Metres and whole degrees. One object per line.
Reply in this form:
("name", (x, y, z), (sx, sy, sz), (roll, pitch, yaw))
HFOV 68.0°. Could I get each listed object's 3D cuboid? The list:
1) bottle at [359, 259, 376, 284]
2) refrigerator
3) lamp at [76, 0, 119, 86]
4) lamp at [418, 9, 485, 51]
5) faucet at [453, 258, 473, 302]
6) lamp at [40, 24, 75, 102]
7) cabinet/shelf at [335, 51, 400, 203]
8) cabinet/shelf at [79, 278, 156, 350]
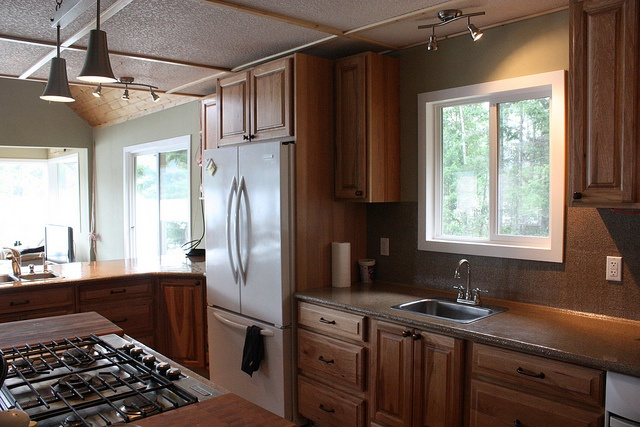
("bottle", (0.403, 0.491, 4.098), (0.124, 0.198, 0.106), (-4, 3, -7))
("refrigerator", (-0.600, 0.540, 4.011), (0.938, 2.219, 0.342), (-1, 4, 42))
("lamp", (-1.246, -0.949, 2.612), (0.182, 0.366, 0.381), (-5, 3, -24))
("lamp", (0.937, -1.274, 3.411), (0.443, 0.238, 0.502), (-3, 2, 19))
("faucet", (1.064, 0.485, 3.509), (0.120, 0.312, 0.353), (-3, 3, 15))
("lamp", (-1.630, -0.923, 2.899), (0.165, 0.410, 0.495), (-6, 3, -28))
("cabinet/shelf", (0.375, -0.685, 3.873), (0.569, 1.169, 0.258), (-4, 3, 9))
("cabinet/shelf", (-2.067, 0.885, 4.615), (0.546, 0.931, 0.635), (-3, 3, -40))
